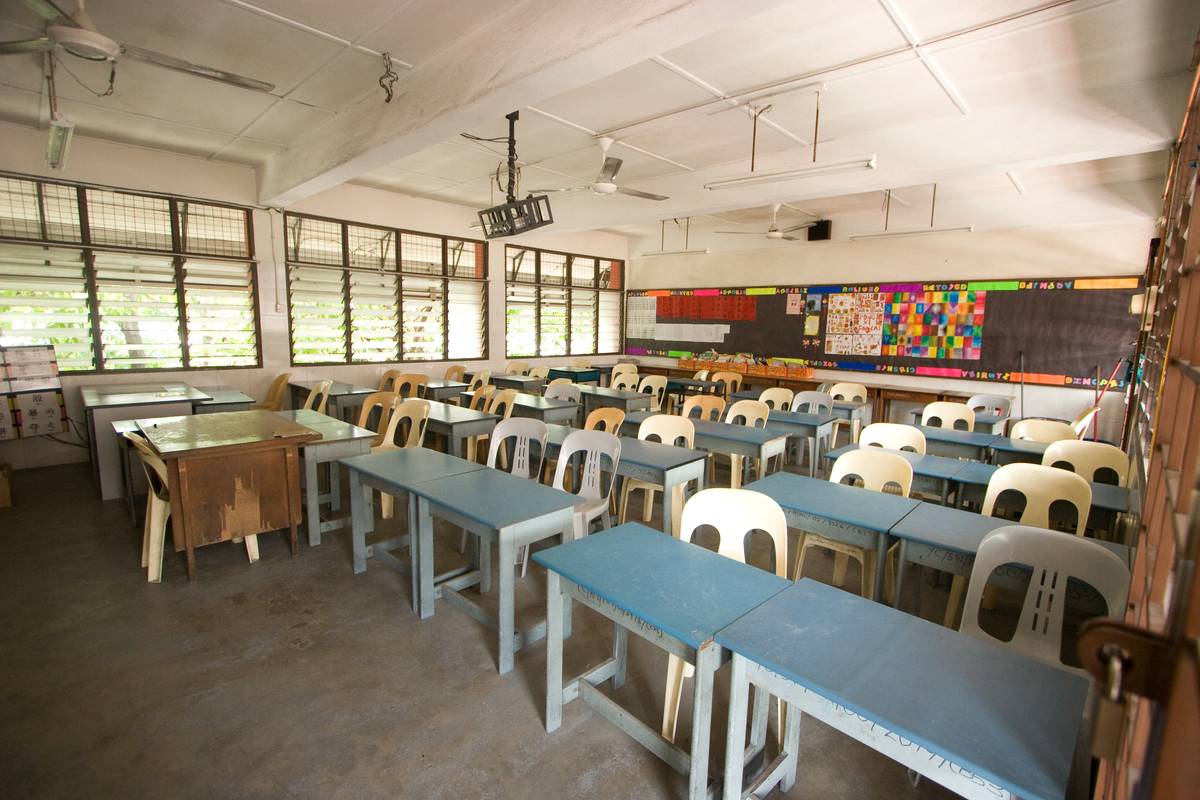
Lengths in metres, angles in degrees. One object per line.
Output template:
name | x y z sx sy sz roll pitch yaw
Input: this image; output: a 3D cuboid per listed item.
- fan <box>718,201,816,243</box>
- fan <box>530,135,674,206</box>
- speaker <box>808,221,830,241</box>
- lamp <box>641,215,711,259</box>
fan | 2.500 -2.637 11.155 1.071 0.404 1.048 4 14 17
fan | -0.068 -2.443 7.988 1.213 0.522 1.444 2 -3 21
speaker | 3.149 -2.400 10.752 0.307 0.295 0.302 0 5 -4
lamp | 1.270 -2.578 12.237 0.869 0.502 1.820 0 5 3
